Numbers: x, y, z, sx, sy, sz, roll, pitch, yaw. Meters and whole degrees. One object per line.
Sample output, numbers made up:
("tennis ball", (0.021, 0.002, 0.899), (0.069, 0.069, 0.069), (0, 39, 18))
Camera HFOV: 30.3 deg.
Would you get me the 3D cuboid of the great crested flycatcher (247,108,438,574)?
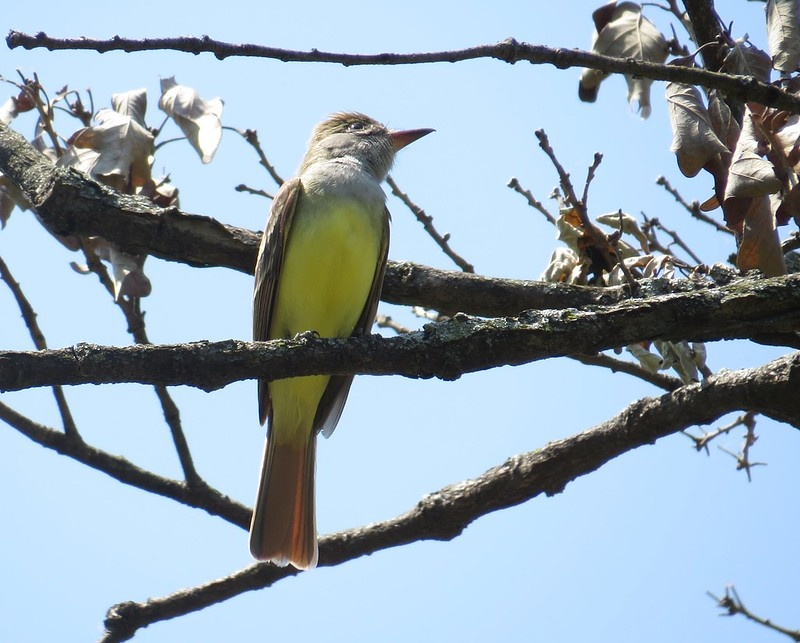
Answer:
("great crested flycatcher", (-0.400, 0.145, 7.931), (0.665, 1.016, 2.408), (14, -70, -33))
